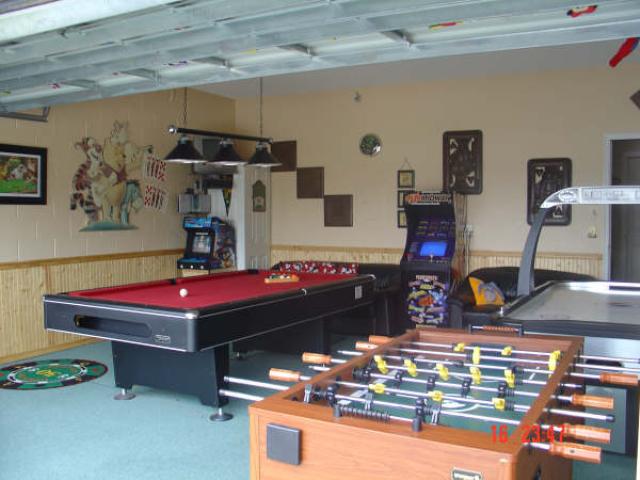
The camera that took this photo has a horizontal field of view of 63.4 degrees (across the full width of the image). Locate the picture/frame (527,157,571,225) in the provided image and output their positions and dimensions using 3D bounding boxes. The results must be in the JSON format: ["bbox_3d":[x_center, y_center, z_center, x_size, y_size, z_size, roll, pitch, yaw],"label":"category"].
[{"bbox_3d":[2.904,-0.615,6.571,0.531,0.863,0.148,1,8,25],"label":"picture/frame"}]

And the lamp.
[{"bbox_3d":[-1.346,-1.627,7.101,0.532,0.392,1.505,-3,-1,37],"label":"lamp"}]

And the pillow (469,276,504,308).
[{"bbox_3d":[1.997,0.622,6.267,0.435,0.285,0.494,1,7,20],"label":"pillow"}]

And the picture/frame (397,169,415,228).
[{"bbox_3d":[1.214,-0.593,7.349,0.246,0.824,0.130,0,7,14],"label":"picture/frame"}]

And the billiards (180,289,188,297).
[{"bbox_3d":[-1.157,0.447,4.392,0.054,0.055,0.063,4,7,14],"label":"billiards"}]

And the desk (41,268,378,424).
[{"bbox_3d":[-0.930,0.866,4.866,1.531,1.057,2.533,3,9,37],"label":"desk"}]

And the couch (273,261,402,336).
[{"bbox_3d":[0.249,0.667,5.660,0.926,0.462,0.500,-1,1,33],"label":"couch"}]

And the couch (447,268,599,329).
[{"bbox_3d":[2.316,0.633,6.244,1.451,0.730,1.225,1,7,22],"label":"couch"}]

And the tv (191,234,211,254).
[{"bbox_3d":[-1.725,0.042,7.552,0.345,0.267,0.100,2,8,32],"label":"tv"}]

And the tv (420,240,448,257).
[{"bbox_3d":[1.425,0.105,6.530,0.348,0.183,0.247,0,7,14],"label":"tv"}]
